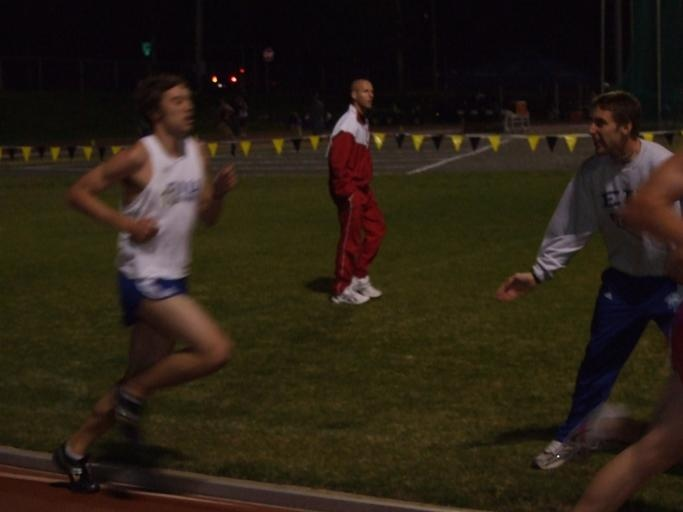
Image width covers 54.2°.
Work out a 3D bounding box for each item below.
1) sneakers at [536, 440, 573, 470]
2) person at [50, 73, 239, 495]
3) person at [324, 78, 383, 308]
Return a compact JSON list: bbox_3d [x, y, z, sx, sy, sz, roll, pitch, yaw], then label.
[{"bbox_3d":[1.240,1.175,3.942,0.230,0.139,0.092,-29,-21,-5],"label":"sneakers"},{"bbox_3d":[-1.048,0.182,3.654,0.968,2.319,0.605,-3,9,-11],"label":"person"},{"bbox_3d":[0.172,-0.739,7.544,0.545,2.501,0.707,4,10,28],"label":"person"}]
